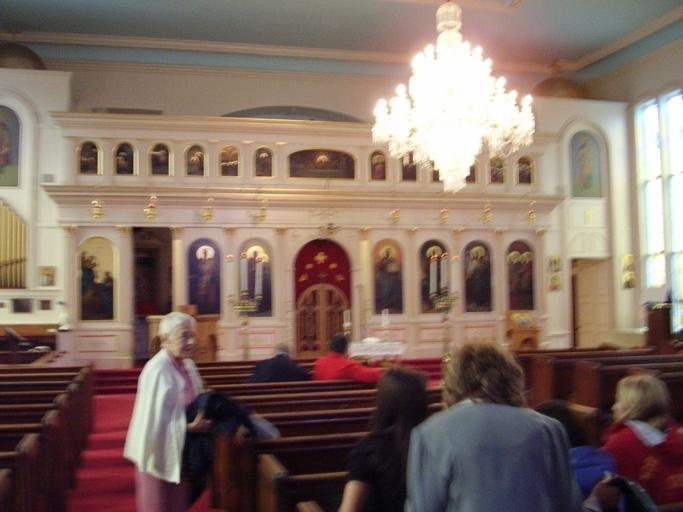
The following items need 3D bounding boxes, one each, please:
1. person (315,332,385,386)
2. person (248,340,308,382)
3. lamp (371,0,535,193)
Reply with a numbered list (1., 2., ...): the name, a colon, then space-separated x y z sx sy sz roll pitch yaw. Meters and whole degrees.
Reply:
1. person: 0.132 1.479 9.617 1.151 0.748 0.627 2 9 31
2. person: -0.872 1.546 9.836 0.733 0.667 0.448 1 -4 13
3. lamp: 1.761 -2.623 11.411 2.477 3.072 1.095 -2 -6 1
